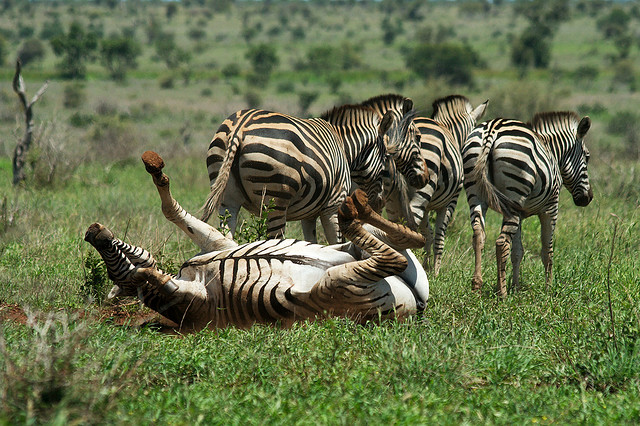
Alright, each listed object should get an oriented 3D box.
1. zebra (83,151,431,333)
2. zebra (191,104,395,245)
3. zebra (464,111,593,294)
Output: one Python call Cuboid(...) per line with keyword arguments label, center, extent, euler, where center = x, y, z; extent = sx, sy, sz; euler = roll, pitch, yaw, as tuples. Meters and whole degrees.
Cuboid(label="zebra", center=(-0.964, 0.735, 11.564), extent=(4.610, 2.542, 1.810), euler=(4, 39, 3))
Cuboid(label="zebra", center=(-0.232, -0.387, 13.230), extent=(1.309, 2.787, 4.044), euler=(10, 8, 42))
Cuboid(label="zebra", center=(3.626, -0.252, 14.334), extent=(1.174, 3.321, 4.602), euler=(4, 3, 33))
